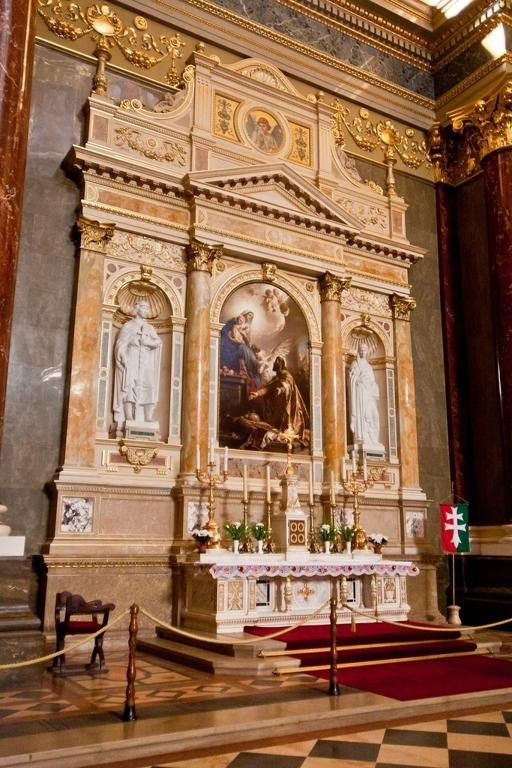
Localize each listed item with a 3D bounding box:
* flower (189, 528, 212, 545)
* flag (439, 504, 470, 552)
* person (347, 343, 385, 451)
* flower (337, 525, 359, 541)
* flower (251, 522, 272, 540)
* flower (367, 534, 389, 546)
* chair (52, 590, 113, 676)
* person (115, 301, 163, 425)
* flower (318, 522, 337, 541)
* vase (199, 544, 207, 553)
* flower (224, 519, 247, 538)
[{"bbox_3d":[-0.653,1.824,8.445,0.236,0.160,0.226,8,-29,-20],"label":"flower"},{"bbox_3d":[3.075,2.252,10.828,0.410,0.748,0.212,-2,-12,10],"label":"flag"},{"bbox_3d":[1.796,0.253,11.855,0.567,1.919,0.344,11,-16,-41],"label":"person"},{"bbox_3d":[1.286,2.045,9.585,0.206,0.224,0.219,4,-10,-2],"label":"flower"},{"bbox_3d":[0.063,1.863,8.728,0.228,0.218,0.215,6,-26,-10],"label":"flower"},{"bbox_3d":[1.686,2.136,9.647,0.218,0.103,0.211,-1,-9,4],"label":"flower"},{"bbox_3d":[-1.777,2.440,7.071,0.526,0.711,1.444,3,-12,-14],"label":"chair"},{"bbox_3d":[-1.627,-0.236,9.600,0.292,1.926,0.673,-11,-17,44],"label":"person"},{"bbox_3d":[0.935,2.000,9.398,0.216,0.234,0.215,5,-12,-11],"label":"flower"},{"bbox_3d":[-0.637,1.976,8.333,0.077,0.069,0.080,-3,-19,11],"label":"vase"},{"bbox_3d":[-0.266,1.797,8.794,0.324,0.306,0.260,6,-26,-13],"label":"flower"}]
